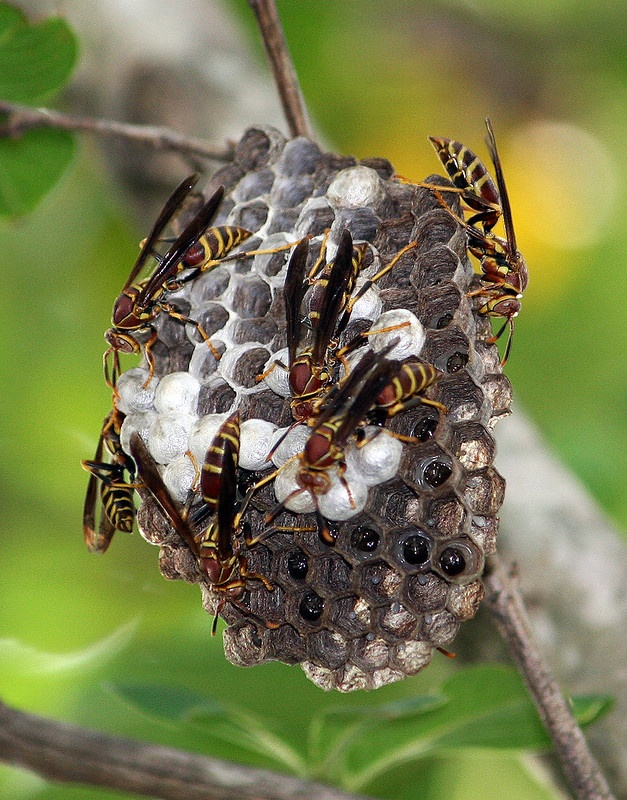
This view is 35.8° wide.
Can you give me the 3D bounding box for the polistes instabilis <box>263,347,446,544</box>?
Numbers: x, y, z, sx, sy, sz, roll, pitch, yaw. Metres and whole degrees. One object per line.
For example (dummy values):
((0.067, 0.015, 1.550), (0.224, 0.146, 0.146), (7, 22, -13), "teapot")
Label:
((0.104, 0.116, 2.637), (0.545, 0.352, 0.170), (-10, 7, -4), "polistes instabilis")
